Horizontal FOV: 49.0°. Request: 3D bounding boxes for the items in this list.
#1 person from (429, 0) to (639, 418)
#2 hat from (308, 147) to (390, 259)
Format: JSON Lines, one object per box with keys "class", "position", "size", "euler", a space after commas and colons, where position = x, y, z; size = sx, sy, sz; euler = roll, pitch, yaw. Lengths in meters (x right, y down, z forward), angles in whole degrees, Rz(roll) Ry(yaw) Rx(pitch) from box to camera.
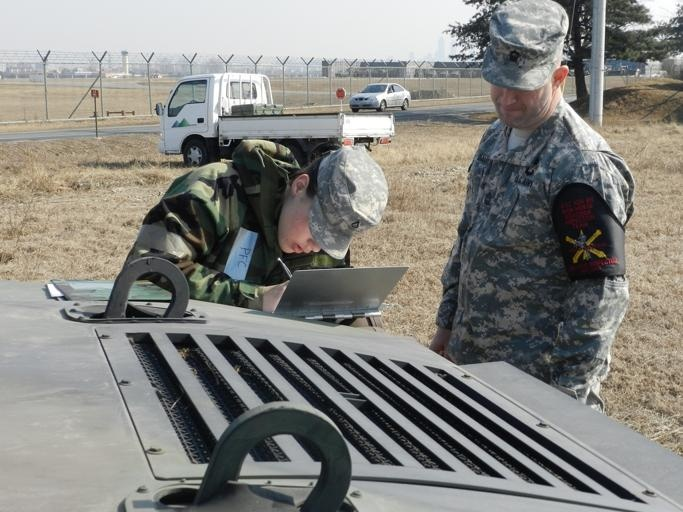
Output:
{"class": "person", "position": [0.700, -0.173, 2.708], "size": [0.473, 1.455, 0.998], "euler": [-5, 14, -22]}
{"class": "hat", "position": [0.033, -0.217, 2.676], "size": [0.198, 0.452, 0.307], "euler": [-26, -25, 35]}
